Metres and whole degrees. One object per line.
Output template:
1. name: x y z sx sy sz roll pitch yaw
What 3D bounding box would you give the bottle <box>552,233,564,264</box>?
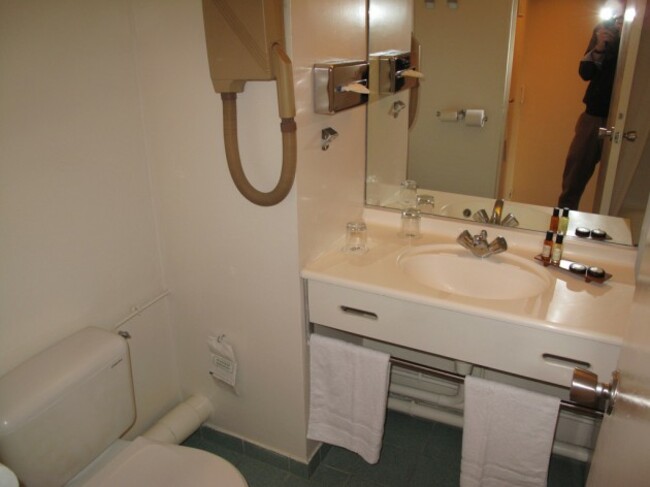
1. bottle: 0.852 0.015 1.812 0.038 0.110 0.050 16 23 34

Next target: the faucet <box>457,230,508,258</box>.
1. faucet: 0.604 0.005 1.917 0.183 0.125 0.093 9 3 24

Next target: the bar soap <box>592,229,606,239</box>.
1. bar soap: 1.044 -0.036 1.886 0.030 0.014 0.042 1 21 23

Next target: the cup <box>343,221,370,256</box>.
1. cup: 0.122 -0.016 1.955 0.107 0.129 0.112 0 24 0

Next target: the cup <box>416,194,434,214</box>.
1. cup: 0.433 -0.172 2.138 0.072 0.074 0.076 -2 21 1

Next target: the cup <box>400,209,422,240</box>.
1. cup: 0.340 -0.082 2.094 0.102 0.127 0.109 0 23 0

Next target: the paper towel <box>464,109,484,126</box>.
1. paper towel: 0.589 -0.497 1.971 0.073 0.077 0.060 5 39 7
